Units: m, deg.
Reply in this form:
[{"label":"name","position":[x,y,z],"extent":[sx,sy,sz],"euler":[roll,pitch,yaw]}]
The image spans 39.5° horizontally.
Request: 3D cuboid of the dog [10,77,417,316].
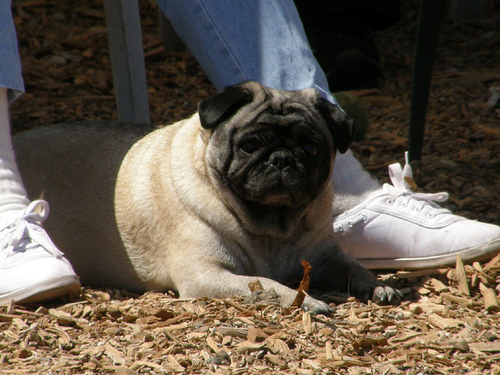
[{"label":"dog","position":[-0.385,-0.007,3.788],"extent":[0.935,1.029,2.603],"euler":[-8,10,-44]}]
